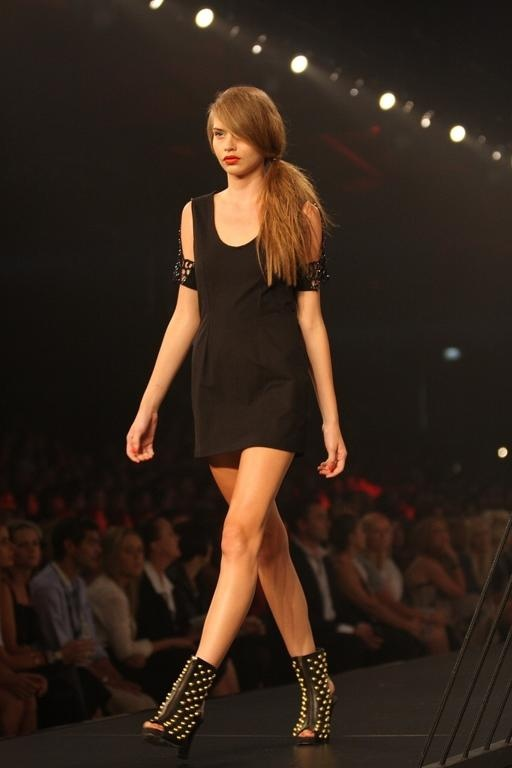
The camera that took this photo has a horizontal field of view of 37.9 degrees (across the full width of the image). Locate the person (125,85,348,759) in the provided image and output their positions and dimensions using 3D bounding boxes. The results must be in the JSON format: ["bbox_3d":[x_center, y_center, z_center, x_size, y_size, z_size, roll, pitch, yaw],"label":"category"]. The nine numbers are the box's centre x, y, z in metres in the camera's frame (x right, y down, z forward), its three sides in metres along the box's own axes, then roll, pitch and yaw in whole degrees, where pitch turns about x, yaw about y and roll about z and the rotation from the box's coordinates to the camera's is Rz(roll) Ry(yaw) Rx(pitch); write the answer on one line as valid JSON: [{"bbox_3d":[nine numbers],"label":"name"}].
[{"bbox_3d":[-0.022,0.026,1.532,0.471,1.314,0.266,1,-14,-9],"label":"person"}]

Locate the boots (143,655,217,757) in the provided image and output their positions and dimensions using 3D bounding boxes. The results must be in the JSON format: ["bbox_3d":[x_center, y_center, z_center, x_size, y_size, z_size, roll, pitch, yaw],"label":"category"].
[{"bbox_3d":[-0.157,0.592,1.369,0.132,0.188,0.172,5,-14,-22],"label":"boots"}]
